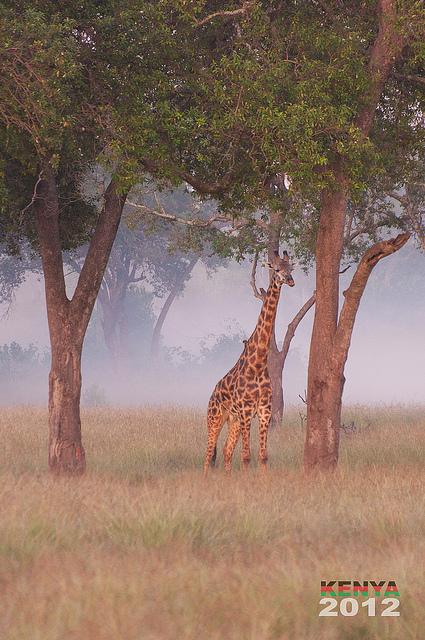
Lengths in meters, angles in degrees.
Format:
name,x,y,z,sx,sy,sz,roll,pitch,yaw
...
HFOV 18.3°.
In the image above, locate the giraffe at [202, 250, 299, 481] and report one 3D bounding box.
name,x,y,z,sx,sy,sz,roll,pitch,yaw
giraffe,0.506,0.604,18.513,1.127,3.221,2.204,2,-4,-4
